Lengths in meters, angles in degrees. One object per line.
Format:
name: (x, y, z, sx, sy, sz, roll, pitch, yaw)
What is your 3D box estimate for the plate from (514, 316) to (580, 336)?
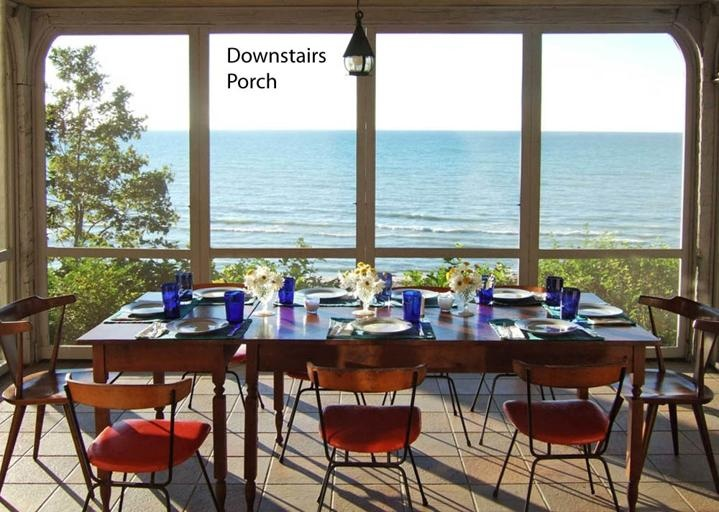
plate: (1.115, 0.420, 3.908, 0.327, 0.062, 0.277, -3, 5, -16)

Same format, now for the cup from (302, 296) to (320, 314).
cup: (-0.312, 0.316, 4.233, 0.097, 0.082, 0.100, 0, -1, 0)

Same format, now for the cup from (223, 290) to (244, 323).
cup: (-0.765, 0.308, 4.025, 0.113, 0.188, 0.182, -3, 5, -11)

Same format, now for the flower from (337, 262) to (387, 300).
flower: (0.030, 0.198, 4.178, 0.276, 0.257, 0.261, -10, 14, -38)

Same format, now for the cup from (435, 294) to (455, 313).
cup: (0.562, 0.309, 4.312, 0.116, 0.126, 0.112, 0, 10, 0)

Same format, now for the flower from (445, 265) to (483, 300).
flower: (0.639, 0.162, 4.236, 0.232, 0.219, 0.216, -2, 7, -17)

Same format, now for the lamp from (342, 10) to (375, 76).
lamp: (-0.007, -1.397, 4.249, 0.189, 0.419, 0.375, -2, 5, 0)

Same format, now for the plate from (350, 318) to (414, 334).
plate: (0.129, 0.414, 3.862, 0.351, 0.065, 0.216, -2, 5, -3)

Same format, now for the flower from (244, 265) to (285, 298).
flower: (-0.607, 0.137, 4.190, 0.208, 0.172, 0.202, -6, 15, -27)

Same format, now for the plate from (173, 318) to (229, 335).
plate: (-0.931, 0.415, 3.882, 0.308, 0.066, 0.244, -4, 5, -27)
